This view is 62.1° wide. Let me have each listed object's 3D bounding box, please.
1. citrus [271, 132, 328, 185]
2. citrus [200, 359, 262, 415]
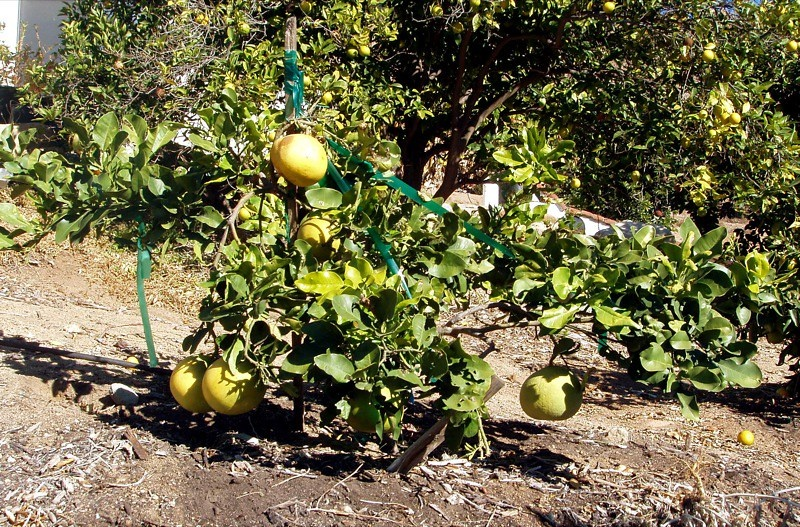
[{"bbox_3d":[-0.514,-0.585,3.729,0.323,0.246,0.241,13,46,47],"label":"citrus"},{"bbox_3d":[-0.911,0.732,3.850,0.330,0.354,0.315,4,-30,-5],"label":"citrus"}]
